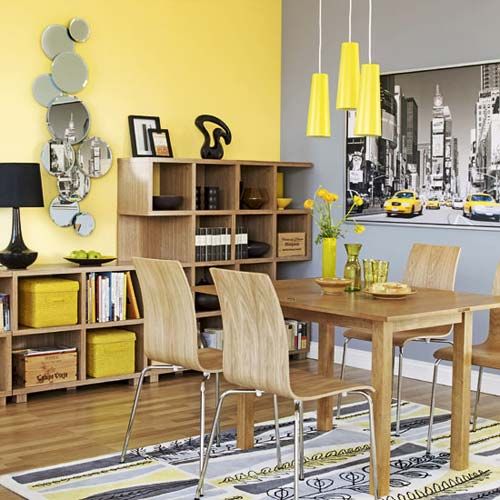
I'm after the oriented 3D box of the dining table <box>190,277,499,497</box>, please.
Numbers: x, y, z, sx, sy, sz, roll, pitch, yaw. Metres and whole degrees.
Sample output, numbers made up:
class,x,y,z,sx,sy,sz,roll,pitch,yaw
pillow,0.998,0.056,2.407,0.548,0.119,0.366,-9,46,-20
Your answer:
class,x,y,z,sx,sy,sz,roll,pitch,yaw
dining table,0.307,0.354,2.124,1.086,0.807,0.992,-3,5,-34

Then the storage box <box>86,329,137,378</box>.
class,x,y,z,sx,sy,sz,roll,pitch,yaw
storage box,-0.980,0.708,3.564,0.318,0.262,0.309,2,-3,-33

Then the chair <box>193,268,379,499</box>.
class,x,y,z,sx,sy,sz,roll,pitch,yaw
chair,0.120,0.467,1.795,0.594,0.790,0.641,3,-4,-31

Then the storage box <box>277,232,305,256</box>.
class,x,y,z,sx,sy,sz,roll,pitch,yaw
storage box,0.357,-0.041,4.374,0.358,0.226,0.188,-1,1,-39

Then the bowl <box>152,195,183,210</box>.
class,x,y,z,sx,sy,sz,roll,pitch,yaw
bowl,-0.593,-0.338,3.709,0.212,0.158,0.317,1,-3,-9

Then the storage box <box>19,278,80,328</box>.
class,x,y,z,sx,sy,sz,roll,pitch,yaw
storage box,-1.314,0.330,3.368,0.337,0.264,0.332,0,2,-44

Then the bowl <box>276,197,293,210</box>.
class,x,y,z,sx,sy,sz,roll,pitch,yaw
bowl,0.284,-0.400,4.491,0.130,0.064,0.122,-1,-2,0

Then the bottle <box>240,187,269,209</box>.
class,x,y,z,sx,sy,sz,roll,pitch,yaw
bottle,0.029,-0.432,4.280,0.198,0.140,0.186,-1,0,0

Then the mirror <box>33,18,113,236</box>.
class,x,y,z,sx,sy,sz,roll,pitch,yaw
mirror,-1.235,-0.861,3.599,0.158,1.496,0.554,-2,-5,36

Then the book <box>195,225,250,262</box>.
class,x,y,z,sx,sy,sz,roll,pitch,yaw
book,-0.216,-0.043,3.952,0.087,0.284,0.517,-2,-5,40

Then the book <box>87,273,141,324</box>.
class,x,y,z,sx,sy,sz,roll,pitch,yaw
book,-0.923,0.324,3.418,0.465,0.379,0.251,1,-2,-40

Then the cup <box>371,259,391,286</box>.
class,x,y,z,sx,sy,sz,roll,pitch,yaw
cup,0.619,0.107,2.439,0.103,0.140,0.104,-1,2,0

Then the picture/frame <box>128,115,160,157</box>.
class,x,y,z,sx,sy,sz,roll,pitch,yaw
picture/frame,-0.799,-0.867,3.881,0.248,0.347,0.059,3,-5,-32
